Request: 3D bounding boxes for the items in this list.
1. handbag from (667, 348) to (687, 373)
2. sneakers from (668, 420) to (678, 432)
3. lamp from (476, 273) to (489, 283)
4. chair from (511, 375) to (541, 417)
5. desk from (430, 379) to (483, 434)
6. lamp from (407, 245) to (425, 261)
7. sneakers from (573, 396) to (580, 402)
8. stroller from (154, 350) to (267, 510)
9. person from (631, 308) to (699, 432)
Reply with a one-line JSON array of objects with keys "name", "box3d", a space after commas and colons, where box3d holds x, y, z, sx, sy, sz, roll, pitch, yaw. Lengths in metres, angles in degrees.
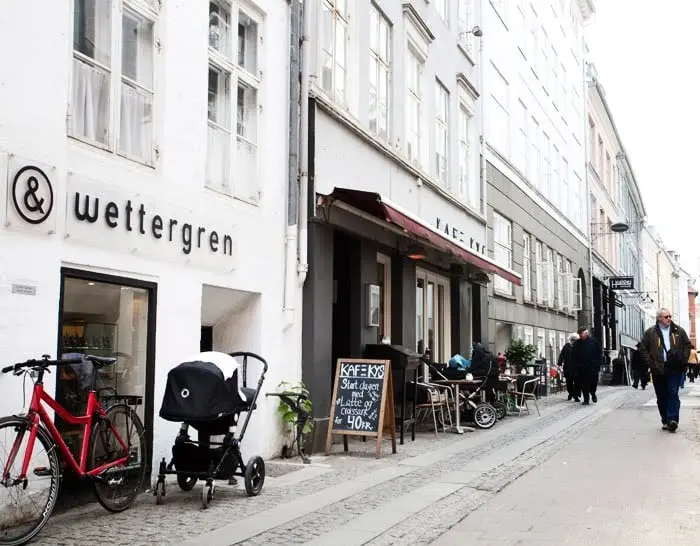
[{"name": "handbag", "box3d": [5.698, 1.549, 12.425, 0.355, 0.422, 0.170, 2, -12, -15]}, {"name": "sneakers", "box3d": [5.603, 2.680, 12.384, 0.086, 0.104, 0.262, 0, -36, 6]}, {"name": "lamp", "box3d": [3.508, 0.135, 18.858, 0.227, 0.220, 0.468, -11, -17, 35]}, {"name": "chair", "box3d": [4.178, 2.942, 17.197, 0.691, 0.957, 0.687, -5, -5, 43]}, {"name": "desk", "box3d": [2.105, 2.609, 13.948, 0.839, 1.098, 1.535, -1, -14, -2]}, {"name": "lamp", "box3d": [1.372, -0.395, 14.577, 0.240, 0.292, 0.366, 2, -3, 21]}, {"name": "sneakers", "box3d": [6.817, 3.778, 21.428, 0.121, 0.188, 0.454, -3, -11, 14]}, {"name": "stroller", "box3d": [-1.437, 1.615, 7.685, 0.986, 1.694, 1.375, -2, -13, 3]}, {"name": "person", "box3d": [5.690, 1.732, 12.788, 0.886, 2.206, 0.987, -7, -13, 24]}]
